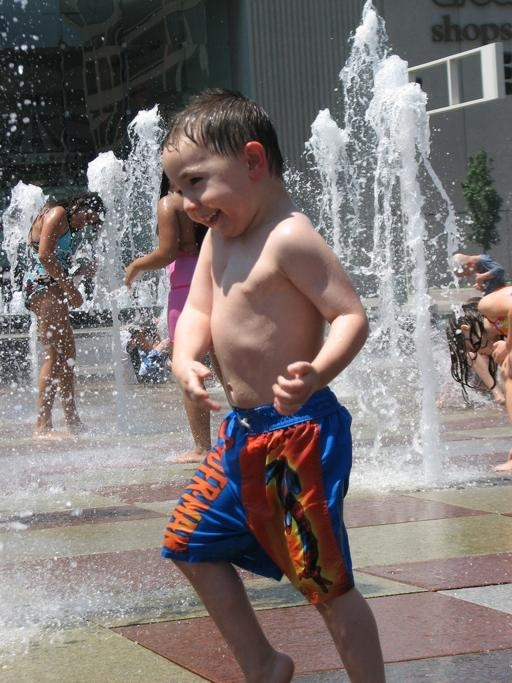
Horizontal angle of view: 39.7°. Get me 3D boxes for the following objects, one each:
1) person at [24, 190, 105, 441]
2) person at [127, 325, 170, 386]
[{"bbox_3d":[-1.405,-0.205,5.287,0.540,1.596,0.651,-3,-1,-25],"label":"person"},{"bbox_3d":[-1.271,0.122,8.918,0.526,0.884,0.449,13,16,15],"label":"person"}]
